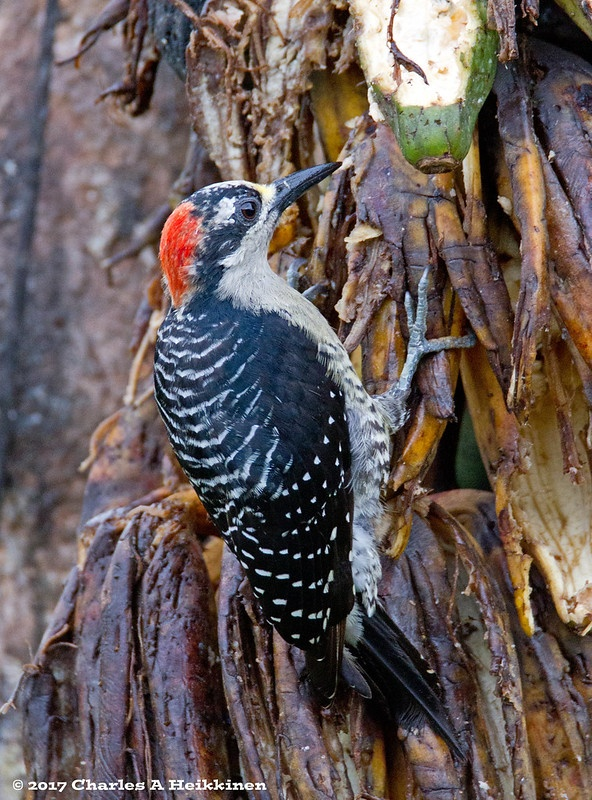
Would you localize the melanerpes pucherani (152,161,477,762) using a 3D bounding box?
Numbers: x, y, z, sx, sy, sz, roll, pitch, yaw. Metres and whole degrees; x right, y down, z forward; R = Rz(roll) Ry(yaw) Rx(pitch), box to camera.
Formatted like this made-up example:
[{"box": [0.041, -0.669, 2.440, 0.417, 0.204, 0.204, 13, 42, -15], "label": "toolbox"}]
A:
[{"box": [0.023, 0.041, 2.699, 0.564, 0.806, 1.153, -14, 45, -9], "label": "melanerpes pucherani"}]
